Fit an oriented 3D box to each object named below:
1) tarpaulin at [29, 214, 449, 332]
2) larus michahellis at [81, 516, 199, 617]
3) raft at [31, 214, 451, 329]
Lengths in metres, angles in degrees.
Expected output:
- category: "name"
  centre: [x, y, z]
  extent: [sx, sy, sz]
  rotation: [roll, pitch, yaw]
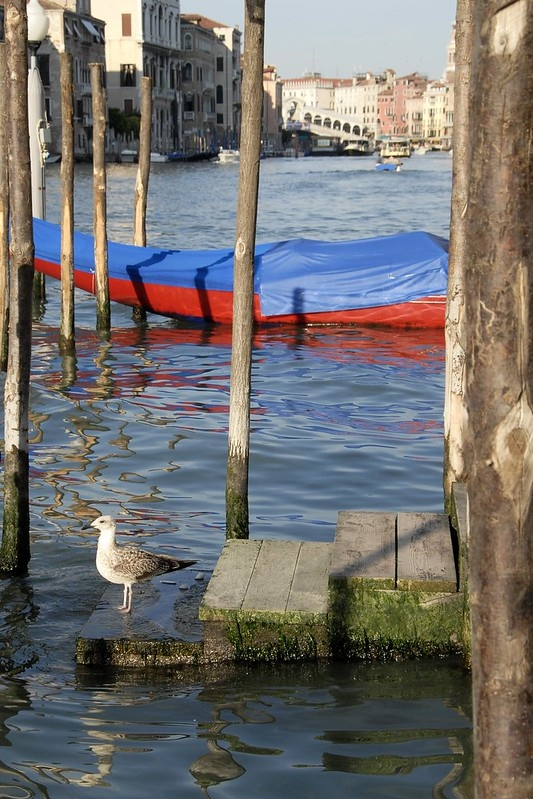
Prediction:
- category: "tarpaulin"
  centre: [-0.030, -1.355, 16.682]
  extent: [5.471, 1.123, 1.821]
  rotation: [5, 14, 17]
- category: "larus michahellis"
  centre: [-0.534, 0.666, 5.965]
  extent: [0.336, 0.386, 0.390]
  rotation: [2, 7, 23]
- category: "raft"
  centre: [-0.289, -1.250, 16.205]
  extent: [4.733, 1.086, 1.766]
  rotation: [4, 2, 4]
